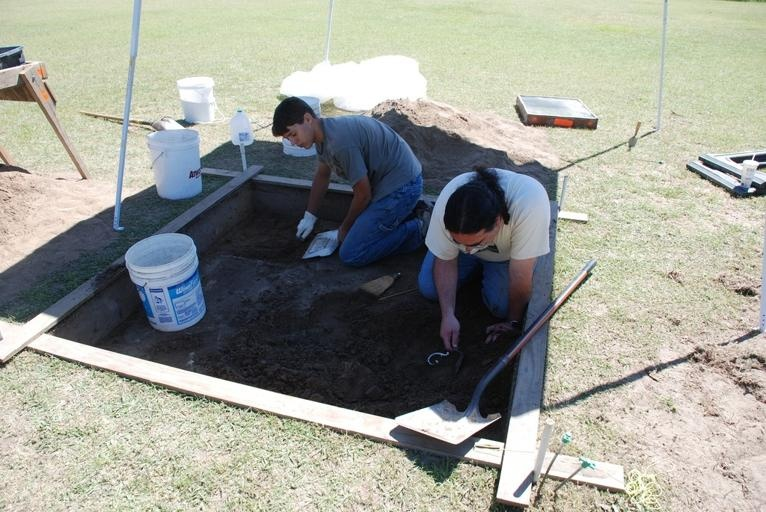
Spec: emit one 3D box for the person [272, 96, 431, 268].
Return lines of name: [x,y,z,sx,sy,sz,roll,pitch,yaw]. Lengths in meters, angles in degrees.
person: [-0.181,-0.705,5.330,1.397,1.497,0.641,-14,39,-24]

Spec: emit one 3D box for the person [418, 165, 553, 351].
person: [0.809,-0.186,4.719,1.004,1.512,1.334,8,43,12]

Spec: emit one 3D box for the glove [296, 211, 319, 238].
glove: [-0.773,-0.293,5.743,0.229,0.122,0.266,26,85,27]

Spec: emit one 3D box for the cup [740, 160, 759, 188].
cup: [4.000,-0.909,6.213,0.170,0.269,0.218,25,40,27]

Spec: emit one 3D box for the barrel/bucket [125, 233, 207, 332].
barrel/bucket: [-1.827,0.225,4.869,0.590,0.675,0.540,3,35,-2]

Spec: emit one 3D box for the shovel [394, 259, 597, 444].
shovel: [1.080,0.882,4.471,2.356,0.196,0.613,-36,35,-26]

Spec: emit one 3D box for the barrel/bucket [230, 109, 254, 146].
barrel/bucket: [-1.618,-1.455,6.505,0.236,0.423,0.340,-7,36,-17]

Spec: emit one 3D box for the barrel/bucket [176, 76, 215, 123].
barrel/bucket: [-2.595,-2.212,7.957,0.594,0.602,0.556,2,23,-1]

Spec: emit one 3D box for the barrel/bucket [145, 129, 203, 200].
barrel/bucket: [-2.148,-0.946,5.950,0.565,0.597,0.586,1,21,0]
